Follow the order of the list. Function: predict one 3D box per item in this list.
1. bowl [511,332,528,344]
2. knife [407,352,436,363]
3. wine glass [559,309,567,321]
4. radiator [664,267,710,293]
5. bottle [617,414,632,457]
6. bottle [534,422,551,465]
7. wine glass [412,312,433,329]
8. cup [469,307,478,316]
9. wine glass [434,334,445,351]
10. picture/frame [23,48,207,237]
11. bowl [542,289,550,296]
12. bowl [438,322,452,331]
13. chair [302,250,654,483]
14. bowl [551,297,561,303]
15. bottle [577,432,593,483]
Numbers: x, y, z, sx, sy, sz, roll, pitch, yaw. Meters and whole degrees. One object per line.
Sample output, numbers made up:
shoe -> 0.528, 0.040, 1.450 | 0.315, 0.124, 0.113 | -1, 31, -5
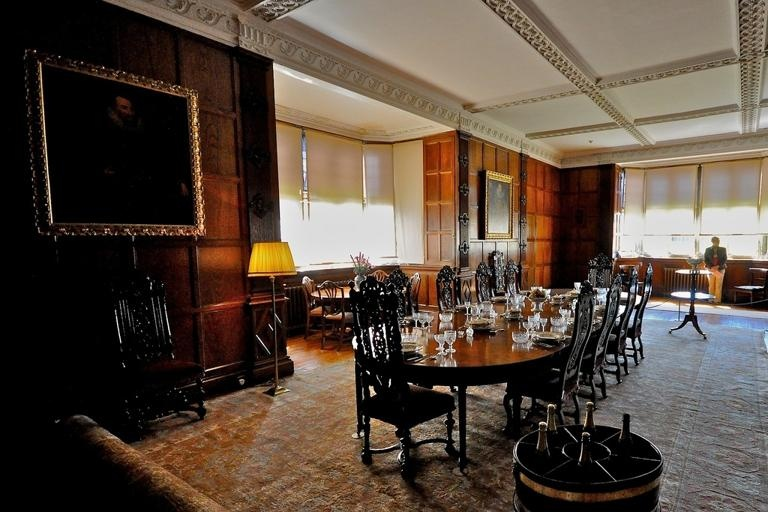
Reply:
bowl -> 1.304, 0.785, 4.646 | 0.111, 0.063, 0.105 | -1, -3, 0
knife -> 0.329, 0.911, 4.300 | 0.084, 0.019, 0.332 | 0, 1, 18
wine glass -> 1.946, 0.652, 5.270 | 0.092, 0.155, 0.090 | 1, 1, -6
radiator -> 6.672, 0.532, 10.645 | 0.563, 0.472, 0.067 | 1, 1, 31
bottle -> 1.687, 1.233, 3.398 | 0.076, 0.294, 0.147 | -1, 2, 27
bottle -> 1.125, 1.286, 3.449 | 0.091, 0.251, 0.193 | -2, 2, 18
wine glass -> 0.421, 0.695, 5.159 | 0.166, 0.138, 0.160 | 1, 3, -16
cup -> 1.009, 0.628, 5.464 | 0.080, 0.091, 0.082 | -2, 5, 0
wine glass -> 0.505, 0.804, 4.499 | 0.129, 0.149, 0.129 | 0, -2, -22
picture/frame -> -2.634, -1.050, 4.843 | 1.480, 1.375, 0.099 | -4, 3, -35
bowl -> 2.218, 0.511, 6.666 | 0.088, 0.099, 0.091 | 0, 5, 0
bowl -> 0.647, 0.750, 5.131 | 0.089, 0.083, 0.092 | -1, 2, 0
chair -> 0.706, 0.942, 4.586 | 1.861, 1.059, 1.899 | -2, 6, 4
bowl -> 2.233, 0.577, 6.318 | 0.089, 0.087, 0.090 | -2, 4, 0
bottle -> 1.365, 1.351, 3.317 | 0.078, 0.270, 0.206 | -2, 2, 22
